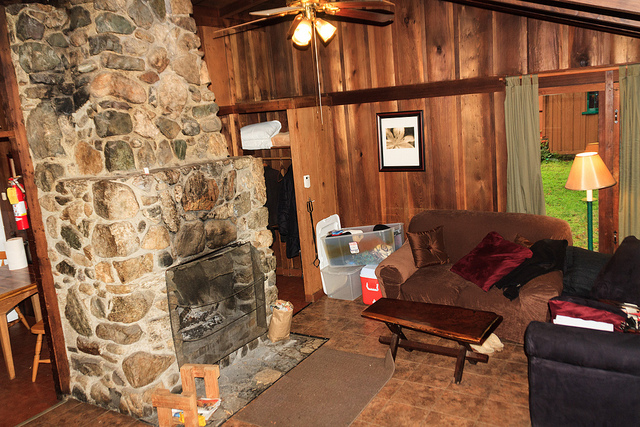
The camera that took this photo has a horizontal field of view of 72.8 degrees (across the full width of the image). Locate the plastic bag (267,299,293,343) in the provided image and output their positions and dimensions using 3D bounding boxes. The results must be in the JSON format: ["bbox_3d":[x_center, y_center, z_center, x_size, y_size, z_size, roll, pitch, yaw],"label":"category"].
[{"bbox_3d":[-0.484,1.378,5.441,0.261,0.405,0.320,17,5,41],"label":"plastic bag"}]

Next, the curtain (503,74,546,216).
[{"bbox_3d":[2.581,-0.856,5.472,0.418,1.731,0.183,-2,14,20],"label":"curtain"}]

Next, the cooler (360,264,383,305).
[{"bbox_3d":[0.664,1.044,5.993,0.280,0.398,0.259,-7,-13,-16],"label":"cooler"}]

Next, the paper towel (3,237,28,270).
[{"bbox_3d":[-3.971,0.525,5.614,0.219,0.373,0.240,-16,16,-36],"label":"paper towel"}]
